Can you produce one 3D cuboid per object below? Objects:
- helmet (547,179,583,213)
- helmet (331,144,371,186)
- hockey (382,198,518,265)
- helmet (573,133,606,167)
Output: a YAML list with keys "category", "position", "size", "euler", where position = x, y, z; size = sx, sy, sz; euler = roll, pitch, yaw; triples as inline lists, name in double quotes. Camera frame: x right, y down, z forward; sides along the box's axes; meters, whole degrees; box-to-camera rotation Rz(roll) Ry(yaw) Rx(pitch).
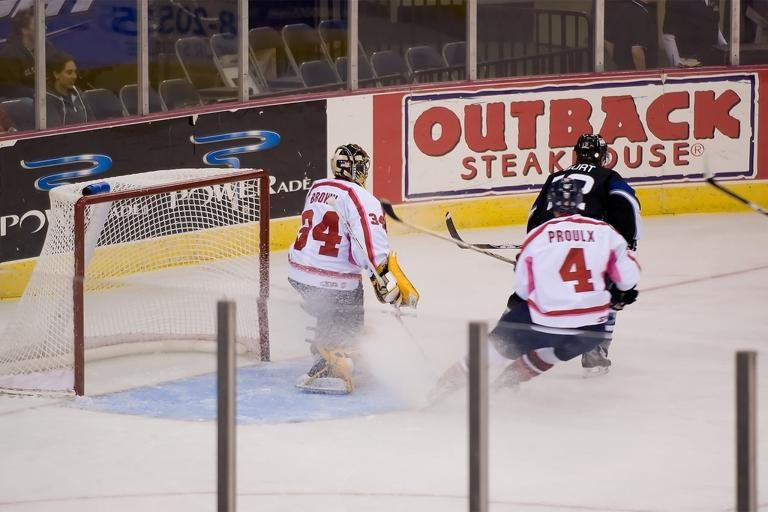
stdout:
- category: "helmet"
  position: [0.960, -0.316, 6.166]
  size: [0.178, 0.175, 0.208]
  euler: [4, 20, 9]
- category: "helmet"
  position: [-0.178, -0.527, 6.713]
  size: [0.292, 0.231, 0.204]
  euler: [-3, 16, -15]
- category: "hockey"
  position: [0.490, -0.186, 9.403]
  size: [0.186, 0.265, 2.242]
  euler: [-22, -24, 38]
- category: "helmet"
  position: [1.209, -0.609, 6.774]
  size: [0.186, 0.168, 0.198]
  euler: [9, 18, 20]
